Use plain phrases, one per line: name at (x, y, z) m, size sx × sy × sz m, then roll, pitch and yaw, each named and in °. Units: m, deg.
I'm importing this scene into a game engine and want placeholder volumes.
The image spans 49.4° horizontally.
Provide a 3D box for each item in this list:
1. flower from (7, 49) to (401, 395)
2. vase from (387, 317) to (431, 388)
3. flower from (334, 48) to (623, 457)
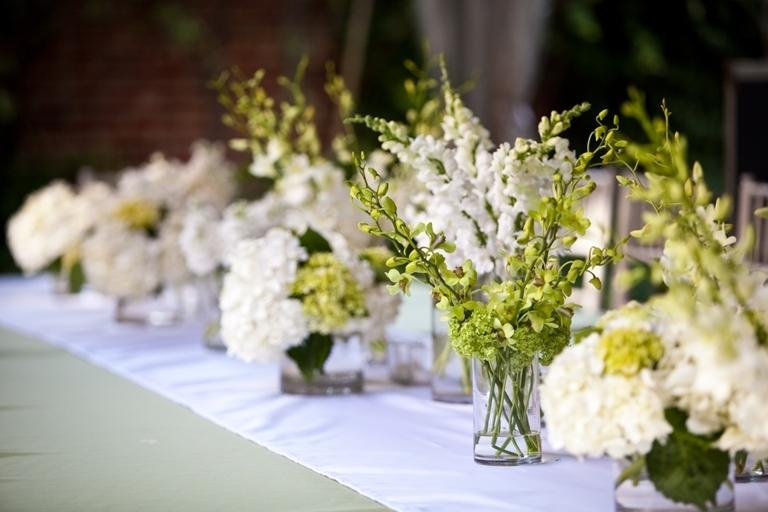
flower at (-0.321, -0.021, 1.939) m, size 0.653 × 0.354 × 0.887 m, roll 19°, pitch 47°, yaw 2°
vase at (0.058, 0.230, 1.881) m, size 0.112 × 0.127 × 0.118 m, roll 0°, pitch -1°, yaw -31°
flower at (0.192, -0.006, 1.718) m, size 0.593 × 0.855 × 0.644 m, roll 0°, pitch -1°, yaw 12°
